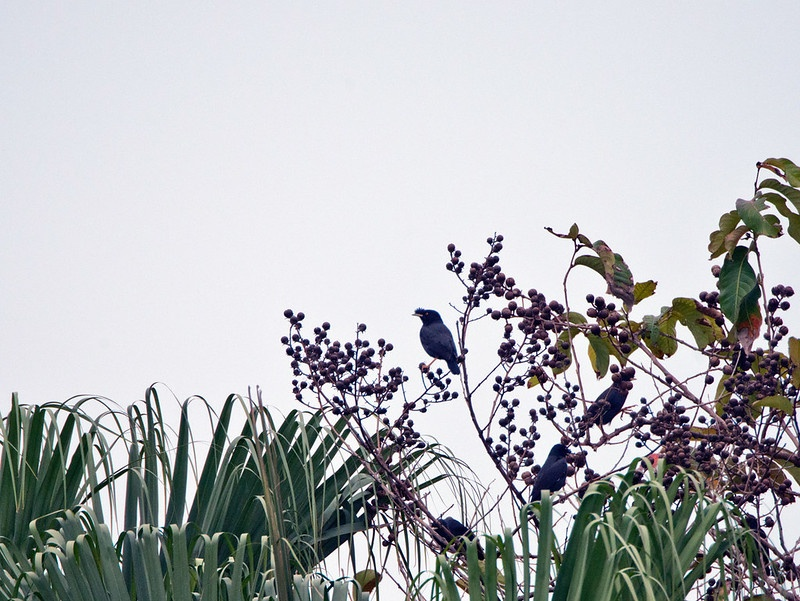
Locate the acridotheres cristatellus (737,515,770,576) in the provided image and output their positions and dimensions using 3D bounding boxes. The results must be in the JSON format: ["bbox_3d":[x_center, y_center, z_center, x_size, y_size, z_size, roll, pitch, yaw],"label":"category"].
[{"bbox_3d":[1.221,0.807,4.443,0.074,0.271,0.112,-1,-36,5],"label":"acridotheres cristatellus"}]
